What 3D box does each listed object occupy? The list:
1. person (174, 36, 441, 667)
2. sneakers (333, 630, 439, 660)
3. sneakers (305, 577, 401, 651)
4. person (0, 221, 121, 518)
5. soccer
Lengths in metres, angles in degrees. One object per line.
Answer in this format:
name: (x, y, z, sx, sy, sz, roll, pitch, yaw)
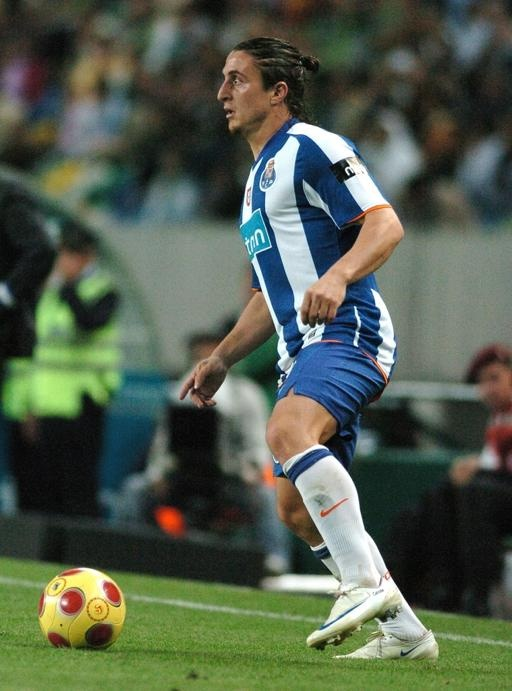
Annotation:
person: (0.137, 0.120, 2.612, 0.620, 1.565, 0.983, -4, 10, -11)
sneakers: (0.343, 0.842, 2.615, 0.337, 0.102, 0.100, -1, -11, 4)
sneakers: (0.254, 0.683, 2.354, 0.132, 0.158, 0.320, 3, 9, 27)
person: (-1.373, 0.170, 6.223, 0.852, 1.960, 0.494, 0, 11, 12)
soccer: (-0.485, 0.730, 2.520, 0.227, 0.199, 0.182, -4, 9, -13)
